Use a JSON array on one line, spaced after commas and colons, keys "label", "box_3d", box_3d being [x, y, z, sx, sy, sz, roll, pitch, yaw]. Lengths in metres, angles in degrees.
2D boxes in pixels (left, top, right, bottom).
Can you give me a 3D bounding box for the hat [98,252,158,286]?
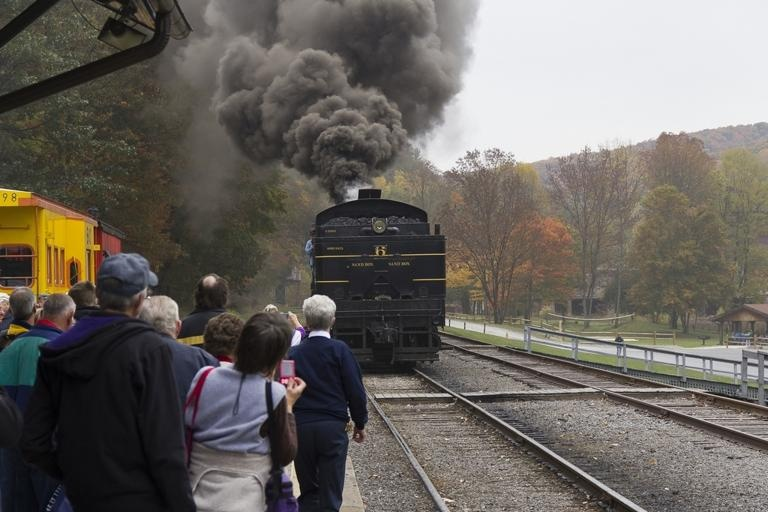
[{"label": "hat", "box_3d": [-2.463, 0.130, 7.785, 0.320, 0.239, 0.481, 10, 7, 29]}]
